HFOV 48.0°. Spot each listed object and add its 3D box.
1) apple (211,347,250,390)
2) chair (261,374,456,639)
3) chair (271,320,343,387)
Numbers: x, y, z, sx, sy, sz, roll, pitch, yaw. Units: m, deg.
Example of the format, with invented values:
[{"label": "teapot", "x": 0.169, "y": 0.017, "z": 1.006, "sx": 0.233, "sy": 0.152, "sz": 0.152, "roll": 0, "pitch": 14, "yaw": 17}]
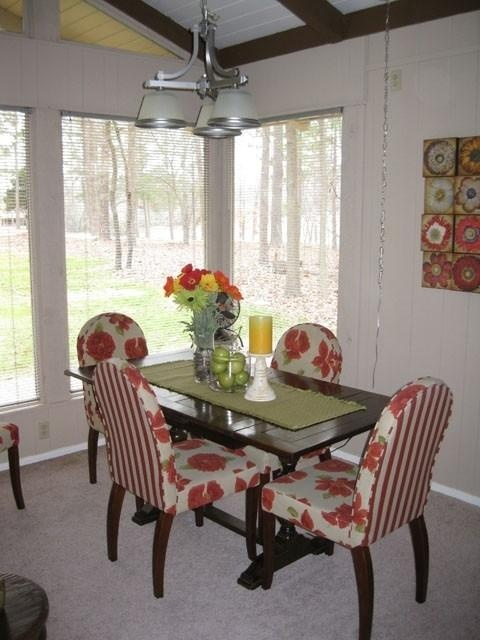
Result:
[{"label": "apple", "x": -0.041, "y": 0.190, "z": 2.197, "sx": 0.172, "sy": 0.168, "sz": 0.164, "roll": -1, "pitch": 0, "yaw": -9}, {"label": "chair", "x": 0.384, "y": 0.529, "z": 1.713, "sx": 0.384, "sy": 0.774, "sz": 0.583, "roll": -3, "pitch": 6, "yaw": -33}, {"label": "chair", "x": 0.352, "y": 0.117, "z": 2.724, "sx": 0.303, "sy": 0.387, "sz": 0.336, "roll": 9, "pitch": 16, "yaw": 32}]
